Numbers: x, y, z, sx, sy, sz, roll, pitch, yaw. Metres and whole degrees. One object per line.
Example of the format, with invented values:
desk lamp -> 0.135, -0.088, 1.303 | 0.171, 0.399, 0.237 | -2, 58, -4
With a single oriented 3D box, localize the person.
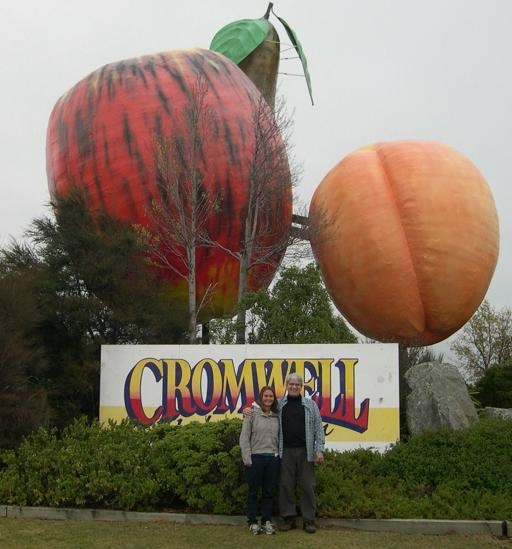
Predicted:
person -> 0.307, 2.160, 9.753 | 0.996, 1.857, 0.342 | 1, -9, -2

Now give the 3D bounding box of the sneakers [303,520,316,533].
sneakers -> 0.641, 3.033, 9.702 | 0.162, 0.130, 0.201 | 0, -12, 5

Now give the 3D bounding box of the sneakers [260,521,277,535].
sneakers -> 0.147, 2.992, 9.585 | 0.087, 0.121, 0.220 | 1, -3, 5

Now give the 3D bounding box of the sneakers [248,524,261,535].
sneakers -> -0.007, 3.008, 9.557 | 0.146, 0.115, 0.115 | 0, -11, 6
